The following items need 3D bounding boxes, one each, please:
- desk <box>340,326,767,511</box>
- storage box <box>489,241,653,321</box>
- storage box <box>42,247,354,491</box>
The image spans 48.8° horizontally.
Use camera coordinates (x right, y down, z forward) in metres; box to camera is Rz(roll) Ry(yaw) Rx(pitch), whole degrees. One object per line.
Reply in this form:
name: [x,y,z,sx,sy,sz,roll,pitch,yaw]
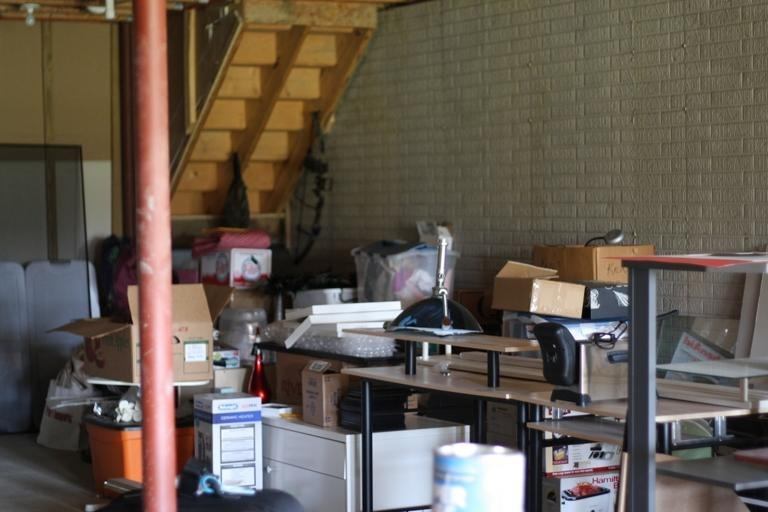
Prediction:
desk: [0.839,0.888,4.546,0.756,0.917,1.360,3,-1,-37]
storage box: [1.360,0.184,6.167,0.764,0.321,0.733,-1,2,-36]
storage box: [-1.512,0.629,6.139,1.834,1.176,1.652,1,-4,-27]
